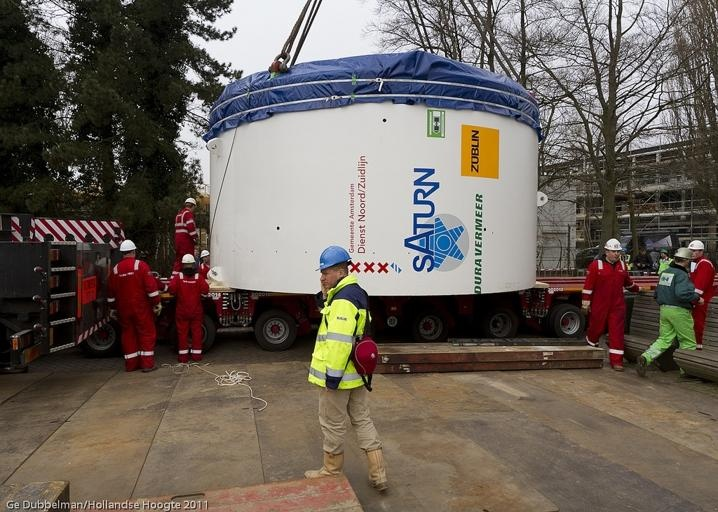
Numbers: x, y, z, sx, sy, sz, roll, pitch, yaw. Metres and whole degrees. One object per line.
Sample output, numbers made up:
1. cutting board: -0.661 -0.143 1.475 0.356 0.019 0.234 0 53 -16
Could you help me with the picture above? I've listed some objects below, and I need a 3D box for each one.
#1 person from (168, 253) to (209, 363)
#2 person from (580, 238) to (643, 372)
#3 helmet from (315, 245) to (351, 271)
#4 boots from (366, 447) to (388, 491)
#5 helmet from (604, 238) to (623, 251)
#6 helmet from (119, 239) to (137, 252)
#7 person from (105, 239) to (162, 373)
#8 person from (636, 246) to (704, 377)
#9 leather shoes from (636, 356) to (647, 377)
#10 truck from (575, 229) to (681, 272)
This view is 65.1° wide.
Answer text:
1. person: -3.707 1.130 12.139 0.854 2.301 0.607 -2 2 -32
2. person: 5.314 1.030 12.061 1.082 2.743 0.632 0 2 6
3. helmet: -0.319 0.012 7.428 0.369 0.261 0.284 -3 6 -24
4. boots: 0.231 2.782 7.354 0.247 0.602 0.533 -2 1 -6
5. helmet: 5.476 -0.220 12.140 0.337 0.306 0.515 0 0 6
6. helmet: -4.788 -0.206 11.544 0.258 0.194 0.316 -8 17 -34
7. person: -4.576 1.015 11.469 0.912 2.628 0.425 0 2 2
8. person: 6.240 1.126 11.268 0.967 2.520 0.513 1 2 26
9. leather shoes: 5.733 2.231 11.394 0.192 0.495 0.162 3 -5 -11
10. truck: 12.021 -0.302 24.844 3.905 2.802 2.833 2 -2 -3
